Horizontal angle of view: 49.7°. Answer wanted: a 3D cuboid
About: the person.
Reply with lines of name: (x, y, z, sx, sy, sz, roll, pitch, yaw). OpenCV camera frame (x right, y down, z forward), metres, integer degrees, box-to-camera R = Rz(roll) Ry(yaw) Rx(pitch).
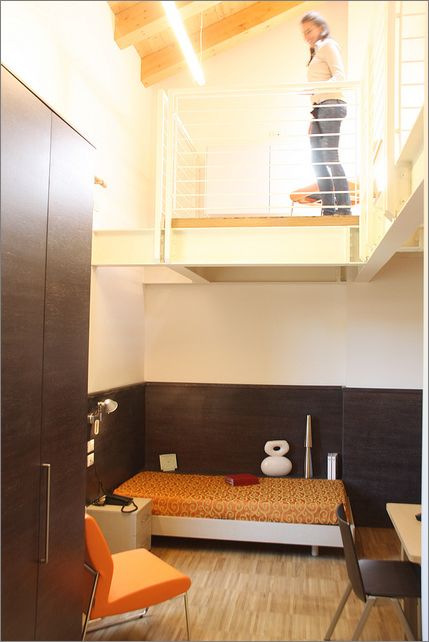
person: (0.769, -1.502, 3.253, 0.315, 1.614, 0.541, -1, -6, 15)
